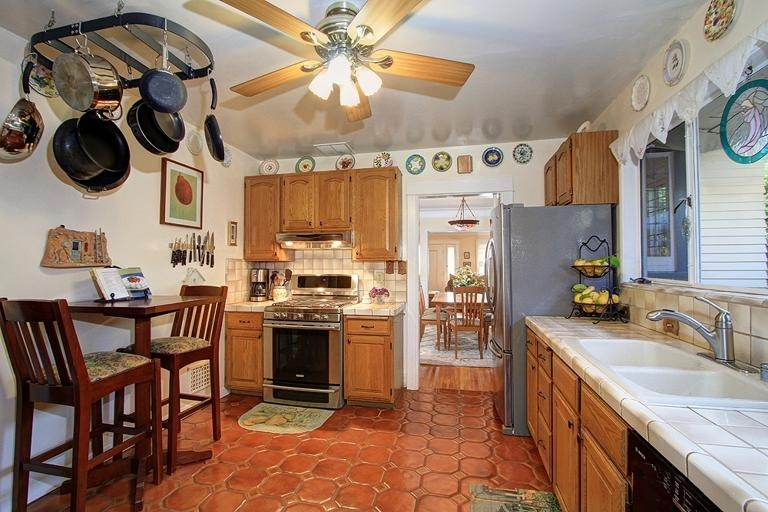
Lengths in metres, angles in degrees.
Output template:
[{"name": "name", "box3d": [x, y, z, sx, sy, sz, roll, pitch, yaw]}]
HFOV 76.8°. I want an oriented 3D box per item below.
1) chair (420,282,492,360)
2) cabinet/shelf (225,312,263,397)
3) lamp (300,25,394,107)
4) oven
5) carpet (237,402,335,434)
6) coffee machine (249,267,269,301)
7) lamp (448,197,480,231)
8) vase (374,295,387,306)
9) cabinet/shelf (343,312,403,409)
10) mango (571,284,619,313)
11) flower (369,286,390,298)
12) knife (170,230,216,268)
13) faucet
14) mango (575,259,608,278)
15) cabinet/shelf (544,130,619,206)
[{"name": "chair", "box3d": [1.058, 0.847, 6.956, 1.015, 1.377, 1.028, 2, -2, -1]}, {"name": "cabinet/shelf", "box3d": [-1.442, 0.955, 4.975, 0.436, 0.750, 0.252, 1, 14, 6]}, {"name": "lamp", "box3d": [-0.241, -1.217, 3.178, 0.611, 0.432, 0.438, 0, 14, -1]}, {"name": "oven", "box3d": [-0.953, 1.140, 5.020, 0.867, 0.901, 0.698, 10, -23, -29]}, {"name": "carpet", "box3d": [-0.925, 1.506, 4.503, 0.813, 0.070, 0.568, 3, 14, 12]}, {"name": "coffee machine", "box3d": [-1.385, 0.317, 5.420, 0.226, 0.339, 0.228, -4, 14, -15]}, {"name": "lamp", "box3d": [1.271, -0.690, 7.791, 0.483, 0.495, 0.498, -2, 2, -32]}, {"name": "vase", "box3d": [-0.026, 0.474, 5.151, 0.091, 0.090, 0.094, 1, -2, -10]}, {"name": "cabinet/shelf", "box3d": [-0.095, 1.012, 5.039, 0.603, 0.904, 0.743, -1, -2, 0]}, {"name": "mango", "box3d": [1.750, 0.363, 4.003, 0.384, 0.233, 0.294, 4, 14, 15]}, {"name": "flower", "box3d": [-0.051, 0.389, 5.222, 0.198, 0.107, 0.265, 1, 14, 4]}, {"name": "knife", "box3d": [-1.833, -0.032, 4.681, 0.050, 0.358, 0.588, 5, 15, 22]}, {"name": "faucet", "box3d": [1.901, 0.457, 2.981, 0.479, 0.315, 0.170, 3, 14, 14]}, {"name": "mango", "box3d": [1.700, 0.114, 3.978, 0.183, 0.088, 0.181, 3, -5, -13]}, {"name": "cabinet/shelf", "box3d": [1.930, -0.871, 4.578, 0.375, 0.590, 0.969, -1, 16, 20]}]
